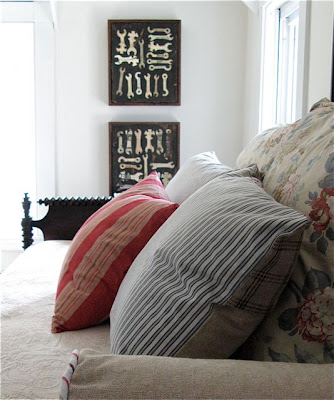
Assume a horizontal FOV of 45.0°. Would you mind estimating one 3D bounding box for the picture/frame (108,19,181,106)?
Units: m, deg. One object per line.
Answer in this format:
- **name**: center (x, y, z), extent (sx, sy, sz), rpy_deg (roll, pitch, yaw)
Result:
- **picture/frame**: center (-0.152, -0.930, 2.644), extent (0.637, 0.605, 0.044), rpy_deg (1, 6, 0)
